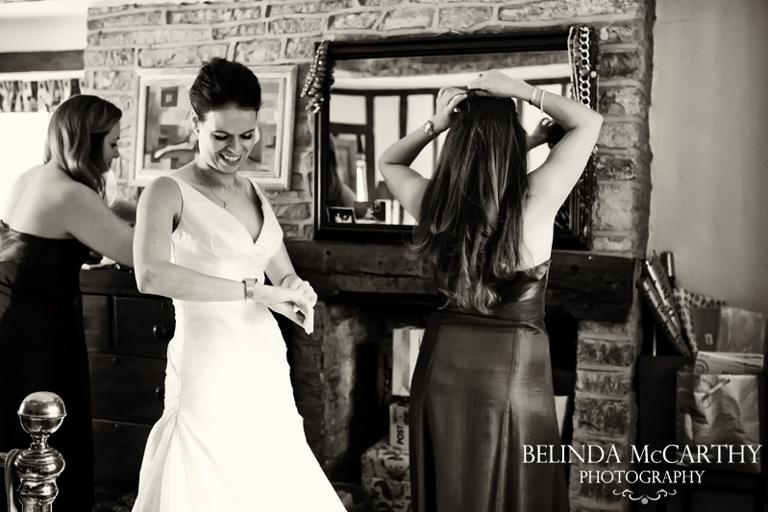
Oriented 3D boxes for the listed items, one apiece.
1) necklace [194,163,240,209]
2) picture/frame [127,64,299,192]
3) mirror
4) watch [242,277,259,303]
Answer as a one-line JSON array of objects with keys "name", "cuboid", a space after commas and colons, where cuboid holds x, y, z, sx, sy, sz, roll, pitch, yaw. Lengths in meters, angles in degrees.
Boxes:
[{"name": "necklace", "cuboid": [-0.773, -0.323, 4.003, 0.212, 0.146, 0.164, 29, 7, 2]}, {"name": "picture/frame", "cuboid": [-0.918, -0.724, 4.636, 0.819, 0.651, 0.062, 2, 1, 18]}, {"name": "mirror", "cuboid": [0.414, -0.649, 4.328, 1.231, 0.978, 0.055, 1, -1, 12]}, {"name": "watch", "cuboid": [-0.626, 0.153, 3.848, 0.065, 0.107, 0.093, 3, 8, 5]}]
